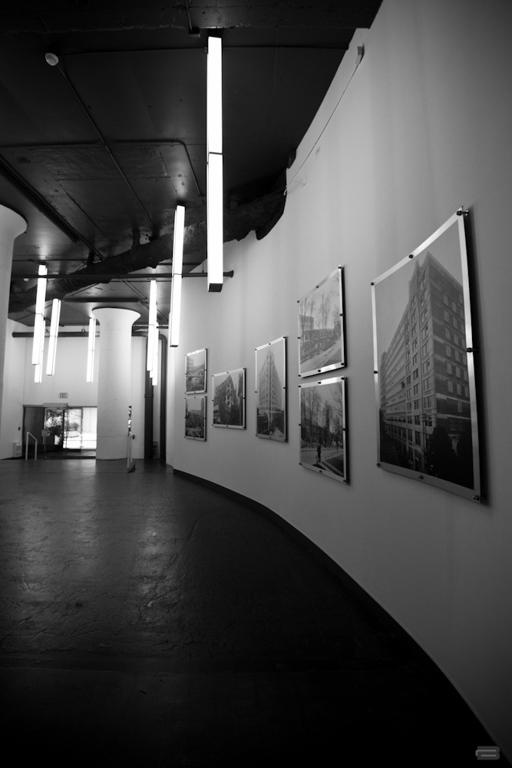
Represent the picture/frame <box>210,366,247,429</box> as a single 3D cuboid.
[{"bbox_3d":[-0.386,0.243,7.027,0.050,0.796,0.861,0,0,29],"label":"picture/frame"}]
